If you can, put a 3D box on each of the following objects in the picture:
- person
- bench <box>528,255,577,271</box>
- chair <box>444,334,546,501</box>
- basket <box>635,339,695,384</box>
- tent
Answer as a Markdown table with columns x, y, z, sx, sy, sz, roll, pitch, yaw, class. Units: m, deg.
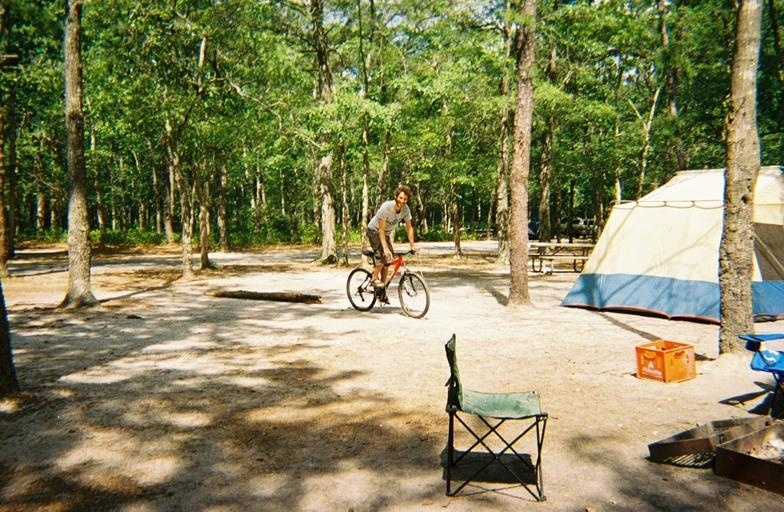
| x | y | z | sx | sy | sz | roll | pitch | yaw | class |
| --- | --- | --- | --- | --- | --- | --- | --- | --- | --- |
| -0.068 | -0.235 | 16.452 | 1.016 | 2.852 | 1.414 | -4 | 4 | -24 | person |
| 6.092 | 0.291 | 26.291 | 1.151 | 0.309 | 1.065 | 1 | 6 | 4 | bench |
| 1.724 | 2.460 | 12.045 | 2.125 | 3.245 | 2.208 | -2 | -1 | 7 | chair |
| 5.210 | 2.091 | 13.137 | 0.773 | 0.520 | 0.793 | -6 | -11 | 44 | basket |
| 7.080 | -0.480 | 18.039 | 3.224 | 2.604 | 4.546 | -1 | 5 | 14 | tent |
